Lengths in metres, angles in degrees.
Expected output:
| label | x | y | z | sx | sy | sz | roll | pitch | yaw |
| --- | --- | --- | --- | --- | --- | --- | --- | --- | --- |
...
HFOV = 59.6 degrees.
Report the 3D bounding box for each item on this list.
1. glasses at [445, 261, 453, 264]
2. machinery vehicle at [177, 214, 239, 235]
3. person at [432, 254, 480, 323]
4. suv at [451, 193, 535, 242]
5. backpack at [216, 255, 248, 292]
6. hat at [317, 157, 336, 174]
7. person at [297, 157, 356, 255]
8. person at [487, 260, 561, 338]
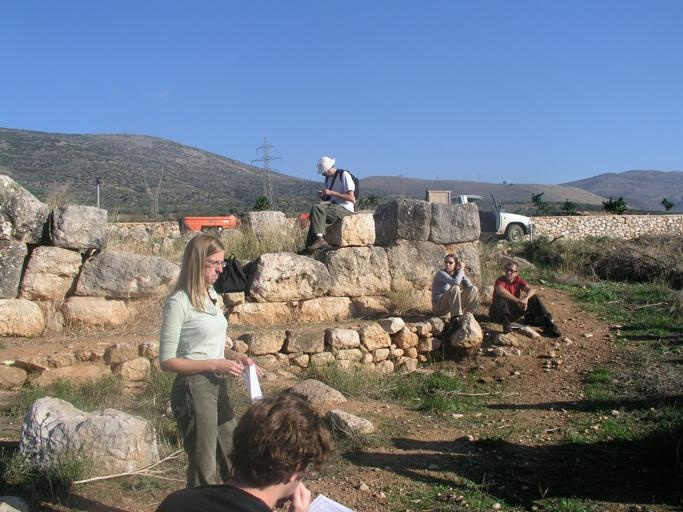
| label | x | y | z | sx | sy | sz | roll | pitch | yaw |
| --- | --- | --- | --- | --- | --- | --- | --- | --- | --- |
| glasses | 1.860 | 0.102 | 10.441 | 0.127 | 0.033 | 0.042 | 2 | -1 | 16 |
| machinery vehicle | -4.847 | -1.212 | 21.933 | 1.930 | 0.649 | 2.686 | 2 | -2 | -13 |
| person | 1.973 | 0.522 | 10.473 | 0.773 | 0.778 | 0.723 | 2 | -1 | 7 |
| suv | 6.306 | -1.521 | 24.026 | 4.225 | 1.666 | 2.109 | -3 | 5 | -19 |
| backpack | -1.609 | 0.280 | 8.695 | 0.602 | 0.634 | 0.340 | 1 | 13 | -5 |
| hat | -0.277 | -1.625 | 10.659 | 0.252 | 0.241 | 0.255 | 2 | -1 | -15 |
| person | -0.198 | -0.903 | 10.830 | 0.950 | 1.393 | 0.662 | 2 | -1 | -4 |
| person | 3.074 | 0.800 | 10.441 | 0.957 | 1.051 | 1.454 | 0 | 3 | -14 |
